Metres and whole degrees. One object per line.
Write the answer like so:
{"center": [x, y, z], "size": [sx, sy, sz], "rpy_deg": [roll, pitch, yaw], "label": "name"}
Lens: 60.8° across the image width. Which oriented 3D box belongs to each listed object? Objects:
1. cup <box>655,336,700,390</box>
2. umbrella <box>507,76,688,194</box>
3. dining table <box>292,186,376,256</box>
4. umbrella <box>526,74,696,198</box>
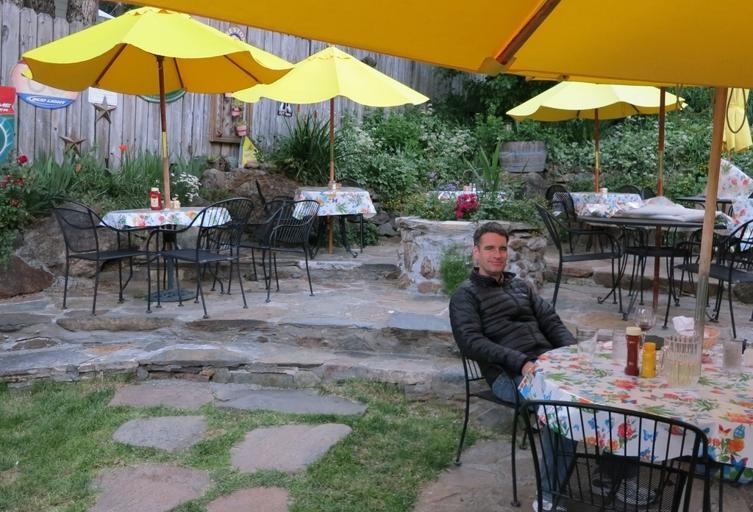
{"center": [1.675, 0.596, 3.509], "size": [0.200, 0.265, 0.258], "rpy_deg": [2, -6, -22], "label": "cup"}
{"center": [3.204, -1.756, 9.117], "size": [1.921, 1.339, 1.958], "rpy_deg": [-6, 10, -5], "label": "umbrella"}
{"center": [-0.590, -0.470, 9.761], "size": [1.080, 0.869, 1.060], "rpy_deg": [0, 19, -11], "label": "dining table"}
{"center": [3.190, -1.876, 9.475], "size": [2.386, 1.904, 2.514], "rpy_deg": [-4, 13, 19], "label": "umbrella"}
